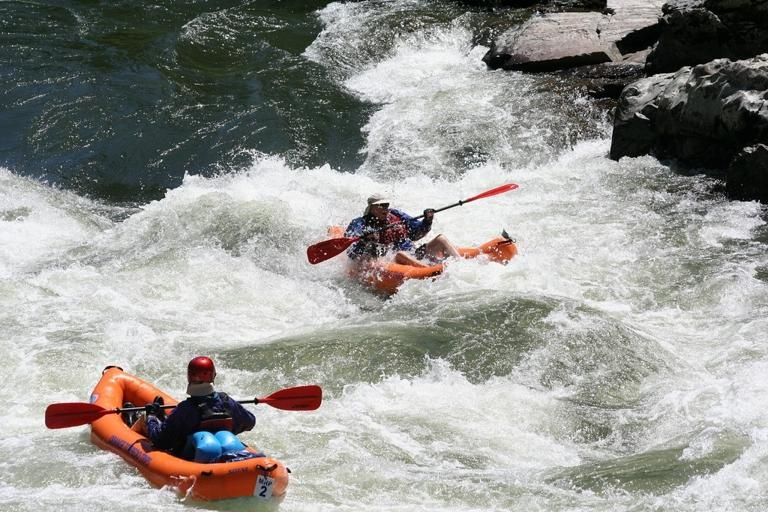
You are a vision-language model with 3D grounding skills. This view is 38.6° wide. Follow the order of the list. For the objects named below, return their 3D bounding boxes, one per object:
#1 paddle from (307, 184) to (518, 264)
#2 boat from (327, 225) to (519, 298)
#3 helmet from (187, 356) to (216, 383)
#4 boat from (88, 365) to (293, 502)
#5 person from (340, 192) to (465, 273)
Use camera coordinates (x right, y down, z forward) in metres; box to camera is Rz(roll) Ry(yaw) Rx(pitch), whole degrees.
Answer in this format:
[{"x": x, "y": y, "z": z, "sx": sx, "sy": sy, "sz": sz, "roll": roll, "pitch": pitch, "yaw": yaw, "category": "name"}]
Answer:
[{"x": 0.539, "y": -0.500, "z": 18.932, "sx": 4.741, "sy": 0.195, "sz": 0.450, "roll": -14, "pitch": 64, "yaw": -7, "category": "paddle"}, {"x": 0.739, "y": 0.149, "z": 18.000, "sx": 2.734, "sy": 0.696, "sz": 1.198, "roll": -9, "pitch": 13, "yaw": 18, "category": "boat"}, {"x": -2.332, "y": 1.444, "z": 14.254, "sx": 0.324, "sy": 0.313, "sz": 0.364, "roll": 4, "pitch": 17, "yaw": -2, "category": "helmet"}, {"x": -2.741, "y": 2.227, "z": 14.201, "sx": 2.894, "sy": 0.597, "sz": 1.300, "roll": 25, "pitch": 25, "yaw": 29, "category": "boat"}, {"x": 0.699, "y": -0.544, "z": 18.879, "sx": 2.743, "sy": 0.885, "sz": 1.378, "roll": -1, "pitch": -7, "yaw": 7, "category": "person"}]
